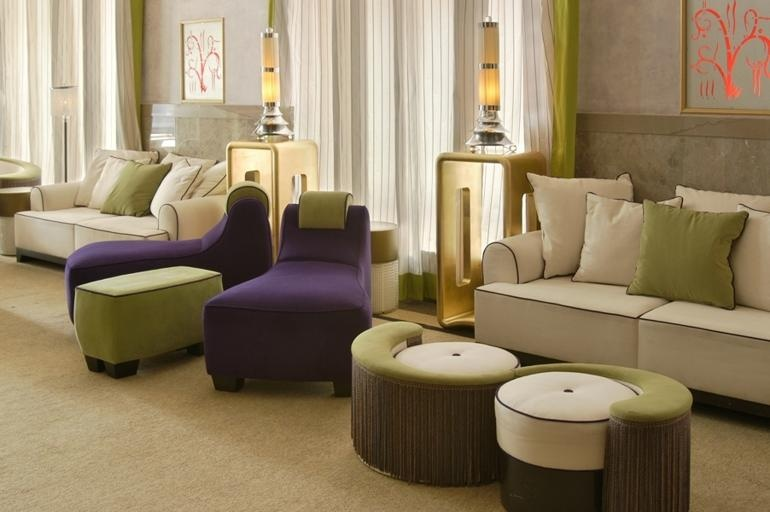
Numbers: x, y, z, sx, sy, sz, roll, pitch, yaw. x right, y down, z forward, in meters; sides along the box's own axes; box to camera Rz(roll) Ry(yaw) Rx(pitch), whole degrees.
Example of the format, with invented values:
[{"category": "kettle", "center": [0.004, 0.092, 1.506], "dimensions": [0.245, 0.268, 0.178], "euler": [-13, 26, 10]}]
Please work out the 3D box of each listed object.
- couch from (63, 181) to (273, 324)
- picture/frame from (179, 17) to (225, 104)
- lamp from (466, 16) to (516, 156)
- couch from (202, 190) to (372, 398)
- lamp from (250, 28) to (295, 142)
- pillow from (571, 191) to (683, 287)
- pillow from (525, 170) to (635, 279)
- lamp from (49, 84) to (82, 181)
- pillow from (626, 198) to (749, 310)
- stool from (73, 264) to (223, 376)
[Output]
[{"category": "couch", "center": [-1.681, -0.049, 5.363], "dimensions": [1.515, 1.034, 0.866], "euler": [0, 2, -13]}, {"category": "picture/frame", "center": [-1.915, -2.091, 7.093], "dimensions": [0.875, 1.115, 0.074], "euler": [3, 4, 39]}, {"category": "lamp", "center": [0.839, -1.305, 5.177], "dimensions": [0.358, 1.018, 0.528], "euler": [2, 11, 11]}, {"category": "couch", "center": [-0.564, 0.214, 4.810], "dimensions": [1.034, 1.316, 1.364], "euler": [2, 7, 7]}, {"category": "lamp", "center": [-1.019, -1.552, 6.085], "dimensions": [0.345, 0.998, 0.617], "euler": [-2, 11, -8]}, {"category": "pillow", "center": [1.569, -0.110, 4.681], "dimensions": [0.594, 0.634, 0.202], "euler": [8, 5, -24]}, {"category": "pillow", "center": [1.374, -0.200, 4.706], "dimensions": [0.710, 0.767, 0.276], "euler": [-1, -2, -14]}, {"category": "lamp", "center": [-3.742, -1.431, 7.915], "dimensions": [0.329, 1.101, 0.782], "euler": [-6, 12, -26]}, {"category": "pillow", "center": [1.910, -0.010, 4.306], "dimensions": [0.636, 0.599, 0.300], "euler": [9, 18, 41]}, {"category": "stool", "center": [-1.682, 0.442, 4.830], "dimensions": [0.564, 0.623, 0.965], "euler": [8, 11, 31]}]
